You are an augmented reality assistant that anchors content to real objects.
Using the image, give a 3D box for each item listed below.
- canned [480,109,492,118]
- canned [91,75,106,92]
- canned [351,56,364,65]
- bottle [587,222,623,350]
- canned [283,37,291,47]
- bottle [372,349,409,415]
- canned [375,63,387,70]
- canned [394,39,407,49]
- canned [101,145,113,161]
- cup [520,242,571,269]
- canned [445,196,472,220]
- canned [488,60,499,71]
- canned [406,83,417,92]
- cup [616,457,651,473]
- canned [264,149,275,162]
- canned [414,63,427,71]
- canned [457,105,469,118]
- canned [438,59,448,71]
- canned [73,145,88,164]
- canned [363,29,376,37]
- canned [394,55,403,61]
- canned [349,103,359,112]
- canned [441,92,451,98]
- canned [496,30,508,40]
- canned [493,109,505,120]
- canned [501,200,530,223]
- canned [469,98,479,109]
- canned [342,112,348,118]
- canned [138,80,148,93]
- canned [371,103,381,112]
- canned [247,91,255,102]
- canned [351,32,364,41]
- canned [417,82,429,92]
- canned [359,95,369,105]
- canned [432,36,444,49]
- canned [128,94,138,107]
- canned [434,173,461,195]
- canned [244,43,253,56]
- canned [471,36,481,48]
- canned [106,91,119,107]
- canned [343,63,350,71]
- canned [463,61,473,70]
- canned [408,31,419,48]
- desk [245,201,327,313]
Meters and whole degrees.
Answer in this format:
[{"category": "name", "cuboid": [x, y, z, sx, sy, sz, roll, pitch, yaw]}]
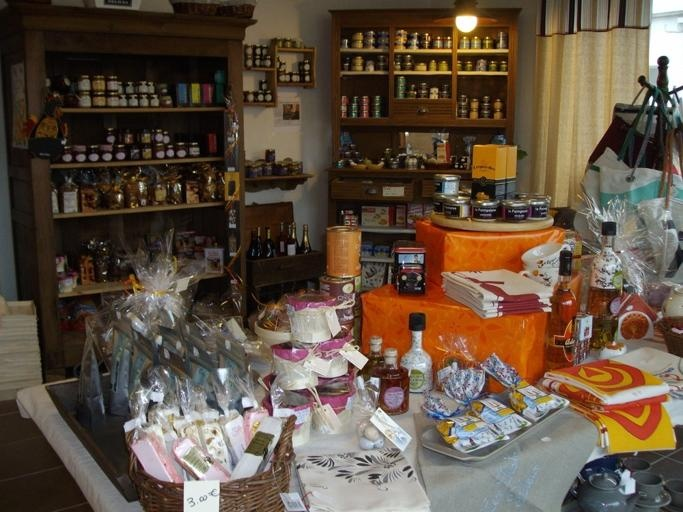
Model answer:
[{"category": "canned", "cuboid": [1.278, -1.250, 4.415, 0.079, 0.067, 0.077, 1, 11, 7]}, {"category": "canned", "cuboid": [-1.615, -1.146, 3.344, 0.104, 0.106, 0.104, 10, 12, 32]}, {"category": "canned", "cuboid": [0.143, -1.710, 4.435, 0.091, 0.075, 0.090, 6, 12, 25]}, {"category": "bottle", "cuboid": [0.999, 0.111, 1.899, 0.115, 0.486, 0.089, -1, 12, 20]}, {"category": "canned", "cuboid": [-0.476, -1.883, 4.422, 0.063, 0.069, 0.062, 5, 24, 11]}, {"category": "bottle", "cuboid": [0.156, 0.390, 1.571, 0.112, 0.179, 0.109, -4, 5, 0]}, {"category": "canned", "cuboid": [0.343, -1.661, 4.435, 0.068, 0.047, 0.070, -2, 4, -43]}, {"category": "canned", "cuboid": [0.505, -1.828, 4.313, 0.089, 0.085, 0.091, 6, 8, 27]}, {"category": "canned", "cuboid": [-1.609, -0.706, 3.441, 0.082, 0.115, 0.062, -9, 12, -22]}, {"category": "cup", "cuboid": [0.755, -0.004, 1.852, 0.133, 0.057, 0.107, -26, 17, 5]}, {"category": "canned", "cuboid": [0.454, -0.189, 1.945, 0.094, 0.065, 0.092, 3, 10, 11]}, {"category": "canned", "cuboid": [1.310, -1.636, 4.334, 0.098, 0.099, 0.097, 3, 4, 23]}, {"category": "canned", "cuboid": [0.628, -1.495, 4.465, 0.079, 0.083, 0.077, -8, 12, -39]}, {"category": "cup", "cuboid": [1.140, 0.808, 1.949, 0.090, 0.058, 0.087, 1, 4, 0]}, {"category": "canned", "cuboid": [-0.665, -0.905, 4.571, 0.121, 0.129, 0.118, -1, 4, -23]}, {"category": "canned", "cuboid": [0.700, -1.661, 4.414, 0.097, 0.059, 0.094, -3, 7, -19]}, {"category": "canned", "cuboid": [1.080, -1.276, 4.427, 0.094, 0.089, 0.094, 4, 11, 23]}, {"category": "canned", "cuboid": [0.893, -1.665, 4.386, 0.092, 0.117, 0.120, -2, 11, 12]}, {"category": "canned", "cuboid": [-1.753, -0.682, 3.358, 0.078, 0.118, 0.092, -7, 11, -10]}, {"category": "canned", "cuboid": [0.254, -1.933, 4.369, 0.076, 0.053, 0.074, 0, 5, -15]}, {"category": "canned", "cuboid": [0.492, -1.732, 4.379, 0.071, 0.062, 0.032, 1, 10, 4]}, {"category": "canned", "cuboid": [0.113, -1.325, 4.517, 0.077, 0.131, 0.074, 3, 6, 7]}, {"category": "canned", "cuboid": [0.927, -1.427, 4.445, 0.063, 0.058, 0.032, 5, 13, 16]}, {"category": "canned", "cuboid": [1.363, -1.860, 4.247, 0.084, 0.079, 0.078, 1, 7, 10]}, {"category": "canned", "cuboid": [1.371, -1.224, 4.356, 0.090, 0.095, 0.093, 1, 6, 12]}, {"category": "canned", "cuboid": [0.665, -0.173, 1.911, 0.087, 0.061, 0.087, 7, 11, 34]}, {"category": "canned", "cuboid": [1.180, -1.347, 4.472, 0.100, 0.105, 0.098, 1, 7, 14]}, {"category": "canned", "cuboid": [0.029, -1.280, 4.538, 0.057, 0.050, 0.055, 0, 7, -4]}, {"category": "canned", "cuboid": [-1.399, -1.181, 3.529, 0.067, 0.084, 0.098, -8, 11, -19]}, {"category": "canned", "cuboid": [0.316, -1.334, 4.505, 0.078, 0.080, 0.075, 0, 9, -1]}, {"category": "canned", "cuboid": [-0.796, -1.396, 4.414, 0.092, 0.096, 0.037, -10, 12, -27]}, {"category": "canned", "cuboid": [0.140, -1.914, 4.381, 0.091, 0.063, 0.088, 0, 7, -9]}, {"category": "canned", "cuboid": [0.721, -1.494, 4.442, 0.099, 0.106, 0.097, 1, 0, 3]}, {"category": "canned", "cuboid": [0.210, -1.411, 4.537, 0.100, 0.092, 0.069, 6, 27, 10]}, {"category": "canned", "cuboid": [0.821, -1.839, 4.332, 0.109, 0.097, 0.107, 0, 10, -1]}, {"category": "canned", "cuboid": [-1.436, -1.071, 3.448, 0.088, 0.079, 0.046, 3, 19, -7]}, {"category": "canned", "cuboid": [0.451, -0.297, 2.104, 0.111, 0.077, 0.108, 1, 9, 2]}, {"category": "canned", "cuboid": [-0.802, -1.783, 4.338, 0.090, 0.100, 0.088, 5, 8, 17]}, {"category": "canned", "cuboid": [1.144, -1.820, 4.284, 0.096, 0.102, 0.093, 1, 10, 7]}, {"category": "canned", "cuboid": [-1.553, -1.062, 3.390, 0.104, 0.094, 0.055, 3, 14, -5]}, {"category": "canned", "cuboid": [0.044, -1.672, 4.464, 0.076, 0.079, 0.072, 4, 14, 16]}, {"category": "canned", "cuboid": [1.117, -1.673, 4.399, 0.076, 0.109, 0.145, -2, 11, 14]}, {"category": "canned", "cuboid": [0.624, -1.859, 4.324, 0.124, 0.153, 0.066, -13, 14, -38]}, {"category": "desk", "cuboid": [-0.514, 0.049, 4.363, 0.627, 0.780, 0.439, -8, 16, -18]}]
